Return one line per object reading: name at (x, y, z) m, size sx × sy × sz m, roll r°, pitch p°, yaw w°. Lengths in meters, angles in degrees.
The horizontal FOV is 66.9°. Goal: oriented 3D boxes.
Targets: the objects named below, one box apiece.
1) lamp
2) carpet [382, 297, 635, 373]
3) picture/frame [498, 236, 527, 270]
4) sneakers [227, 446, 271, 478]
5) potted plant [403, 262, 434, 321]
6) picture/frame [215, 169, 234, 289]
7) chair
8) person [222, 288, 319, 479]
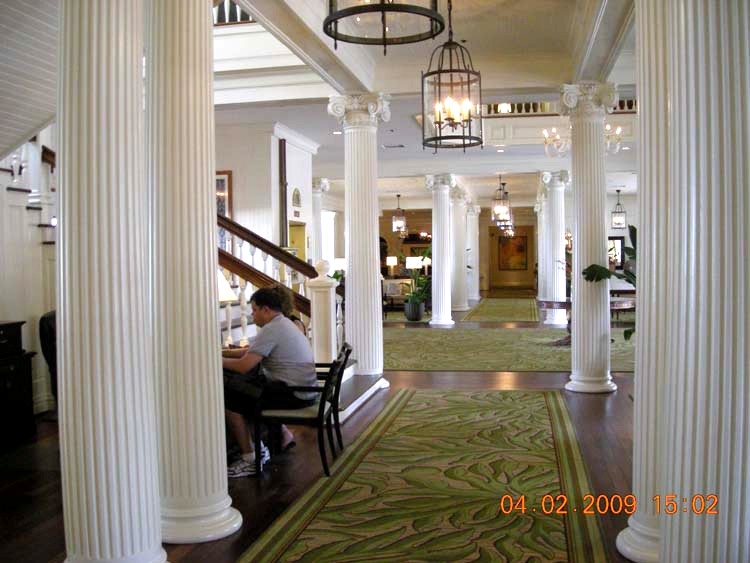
lamp at (0.902, -2.328, 6.442) m, size 0.705 × 1.612 × 2.691 m, roll 0°, pitch 3°, yaw 7°
carpet at (2.528, 1.171, 12.987) m, size 4.633 × 0.075 × 8.842 m, roll -1°, pitch 3°, yaw 2°
picture/frame at (8.432, -1.842, 34.405) m, size 1.936 × 2.444 × 0.173 m, roll 1°, pitch 14°, yaw 12°
sneakers at (-1.019, 1.550, 4.852) m, size 0.423 × 0.300 × 0.144 m, roll 0°, pitch -16°, yaw -3°
potted plant at (1.150, 0.312, 16.356) m, size 0.802 × 1.588 × 1.067 m, roll 1°, pitch 6°, yaw 32°
picture/frame at (-2.924, -1.448, 11.007) m, size 0.299 × 1.573 × 1.083 m, roll -1°, pitch 3°, yaw -15°
chair at (-0.463, 1.041, 5.210) m, size 0.970 × 1.445 × 0.986 m, roll 1°, pitch -1°, yaw 4°
person at (-1.020, 0.858, 5.037) m, size 0.982 × 1.616 × 0.738 m, roll -3°, pitch -2°, yaw -1°
